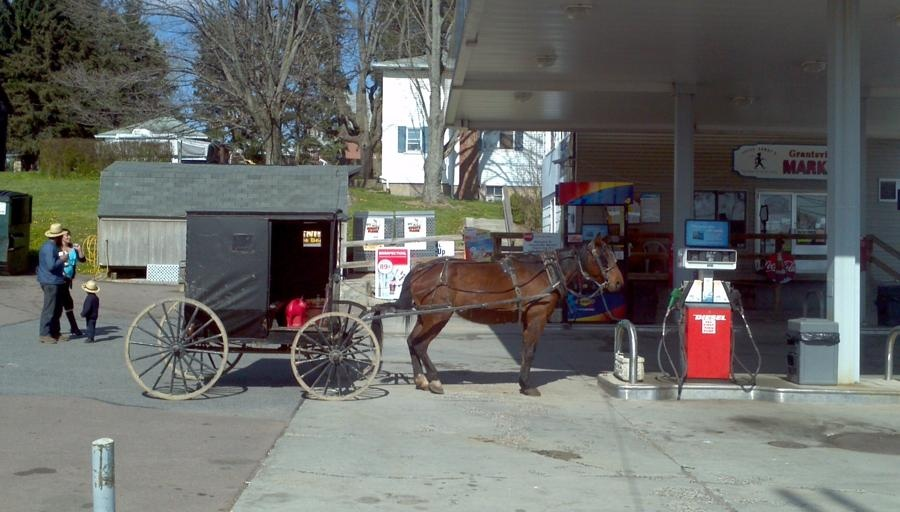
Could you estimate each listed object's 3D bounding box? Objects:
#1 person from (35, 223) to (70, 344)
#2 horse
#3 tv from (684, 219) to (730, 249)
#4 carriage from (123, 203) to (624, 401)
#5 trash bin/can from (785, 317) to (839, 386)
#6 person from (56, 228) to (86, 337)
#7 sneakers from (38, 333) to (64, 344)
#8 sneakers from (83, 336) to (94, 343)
[{"bbox_3d":[-11.454,0.759,31.500,0.671,3.381,0.811,1,1,-11],"label":"person"},{"bbox_3d":[1.311,1.734,29.271,6.875,4.056,2.047,-2,0,-16],"label":"horse"},{"bbox_3d":[6.750,-0.569,28.662,0.882,0.516,0.086,1,-5,3],"label":"tv"},{"bbox_3d":[-1.500,1.546,29.331,13.523,4.648,4.137,2,-2,-3],"label":"carriage"},{"bbox_3d":[9.778,2.572,29.272,1.736,1.814,1.572,2,-2,0],"label":"trash bin/can"},{"bbox_3d":[-11.182,0.852,32.178,0.753,2.788,0.967,0,0,-8],"label":"person"},{"bbox_3d":[-11.388,2.372,31.352,0.608,0.229,0.216,-4,5,-14],"label":"sneakers"},{"bbox_3d":[-10.456,2.413,31.664,0.276,0.164,0.147,6,-2,0],"label":"sneakers"}]
